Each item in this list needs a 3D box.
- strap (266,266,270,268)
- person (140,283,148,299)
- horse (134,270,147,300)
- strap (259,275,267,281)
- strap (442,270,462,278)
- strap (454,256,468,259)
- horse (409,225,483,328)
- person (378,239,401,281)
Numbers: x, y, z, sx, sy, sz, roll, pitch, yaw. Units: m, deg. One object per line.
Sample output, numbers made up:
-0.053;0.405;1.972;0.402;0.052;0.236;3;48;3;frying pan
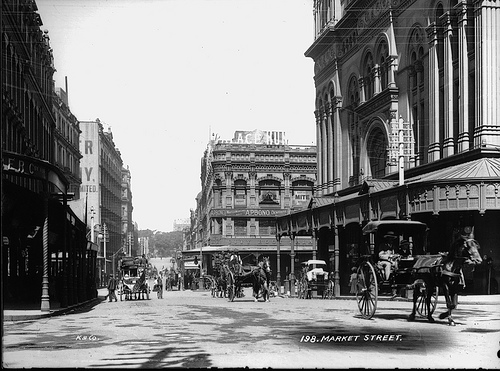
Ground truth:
1.037;4.959;50.415;0.068;0.115;0.197;-8;-16;30;strap
-7.233;7.151;56.618;0.472;1.139;1.155;1;-13;-8;person
-7.545;6.799;56.955;0.595;2.782;0.605;-12;-39;18;horse
0.816;5.630;50.535;0.465;0.306;0.181;8;-15;-32;strap
8.044;3.521;33.028;0.697;0.323;0.260;-5;-14;15;strap
8.348;2.850;32.746;0.601;0.097;0.085;4;-9;29;strap
7.786;3.871;33.998;1.460;3.874;4.729;9;-13;-22;horse
6.030;3.198;35.682;1.014;1.899;1.064;-9;-15;32;person
